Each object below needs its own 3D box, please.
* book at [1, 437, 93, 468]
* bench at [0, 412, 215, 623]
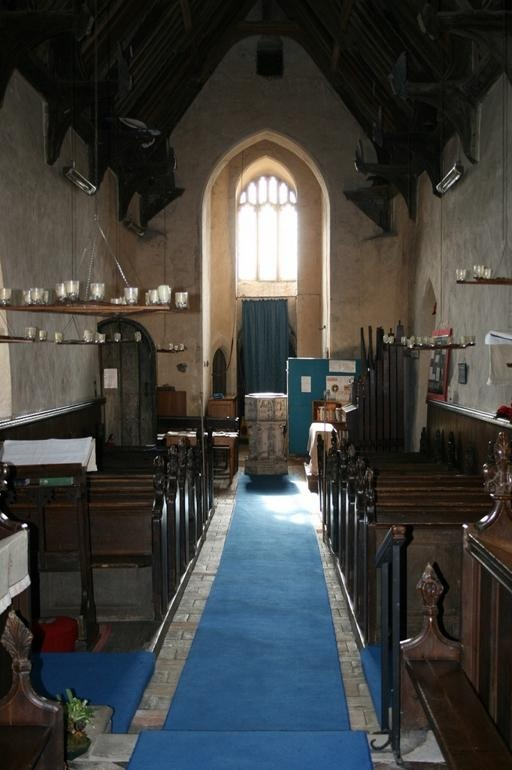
[{"bbox_3d":[-1.409,0.477,4.457,0.302,0.183,0.374,0,2,1],"label":"book"},{"bbox_3d":[-0.963,0.984,5.459,0.905,1.056,2.096,-1,6,1],"label":"bench"}]
